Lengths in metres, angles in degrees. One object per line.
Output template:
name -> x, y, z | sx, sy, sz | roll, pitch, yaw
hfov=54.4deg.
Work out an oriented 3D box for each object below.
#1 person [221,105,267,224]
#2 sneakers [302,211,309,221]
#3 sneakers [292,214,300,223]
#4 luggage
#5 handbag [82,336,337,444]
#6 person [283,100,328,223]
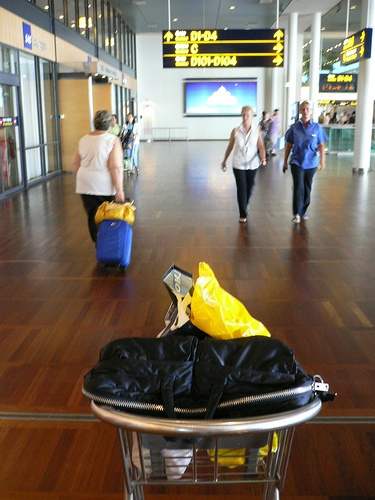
person -> 0.849, -1.296, 5.592 | 0.633, 1.701, 0.859 | 2, 11, 10
sneakers -> 1.832, -0.516, 5.739 | 0.078, 0.109, 0.157 | -2, 4, 12
sneakers -> 1.624, -0.466, 5.475 | 0.108, 0.114, 0.083 | 2, -4, 4
luggage -> -0.756, -0.156, 3.800 | 0.406, 0.676, 0.372 | -3, 12, -13
handbag -> 0.032, 0.270, 0.790 | 0.497, 0.089, 0.318 | -2, 12, -8
person -> 1.711, -1.257, 5.412 | 0.578, 1.684, 0.438 | 3, 12, 18
